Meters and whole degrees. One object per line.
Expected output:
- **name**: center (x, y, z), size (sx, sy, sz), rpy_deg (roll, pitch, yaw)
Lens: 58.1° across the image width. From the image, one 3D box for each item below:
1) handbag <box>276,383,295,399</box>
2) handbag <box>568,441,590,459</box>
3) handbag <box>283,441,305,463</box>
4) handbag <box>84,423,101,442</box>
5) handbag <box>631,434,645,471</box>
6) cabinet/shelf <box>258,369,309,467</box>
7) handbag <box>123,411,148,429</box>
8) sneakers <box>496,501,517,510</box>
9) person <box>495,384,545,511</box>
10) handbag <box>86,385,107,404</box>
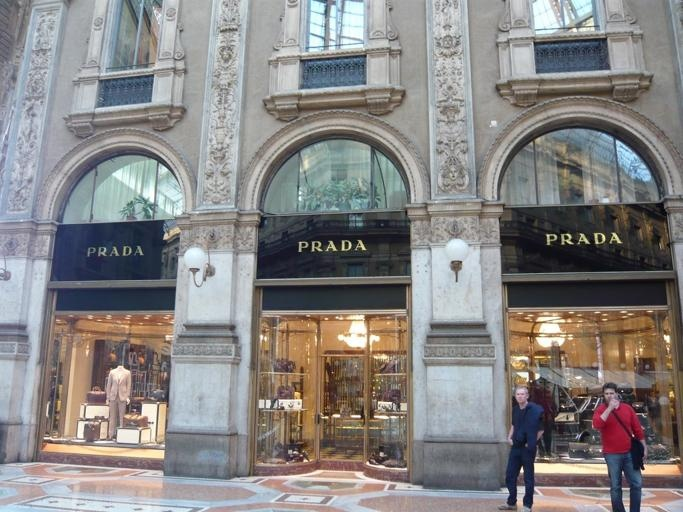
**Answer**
- **handbag**: center (-1.284, 3.152, 14.250), size (0.373, 0.345, 0.281), rpy_deg (1, -13, 13)
- **handbag**: center (5.043, 4.171, 13.181), size (0.437, 0.306, 0.305), rpy_deg (-2, -19, 15)
- **handbag**: center (-1.047, 4.512, 14.120), size (0.540, 0.573, 0.320), rpy_deg (0, -6, 2)
- **handbag**: center (-6.007, 4.299, 14.901), size (0.334, 0.456, 0.250), rpy_deg (6, -20, -23)
- **handbag**: center (4.842, 3.238, 10.061), size (0.276, 0.558, 0.172), rpy_deg (7, -9, -43)
- **cabinet/shelf**: center (-1.574, 3.791, 14.530), size (1.134, 2.136, 1.544), rpy_deg (7, -4, 11)
- **handbag**: center (-4.902, 3.957, 14.716), size (0.540, 0.324, 0.395), rpy_deg (-1, -14, 10)
- **sneakers**: center (2.947, 4.504, 11.083), size (0.374, 0.156, 0.136), rpy_deg (0, -9, 22)
- **person**: center (3.214, 3.459, 11.020), size (0.468, 2.186, 0.629), rpy_deg (6, -8, -39)
- **handbag**: center (-5.938, 3.401, 14.996), size (0.458, 0.415, 0.167), rpy_deg (0, -6, 3)
